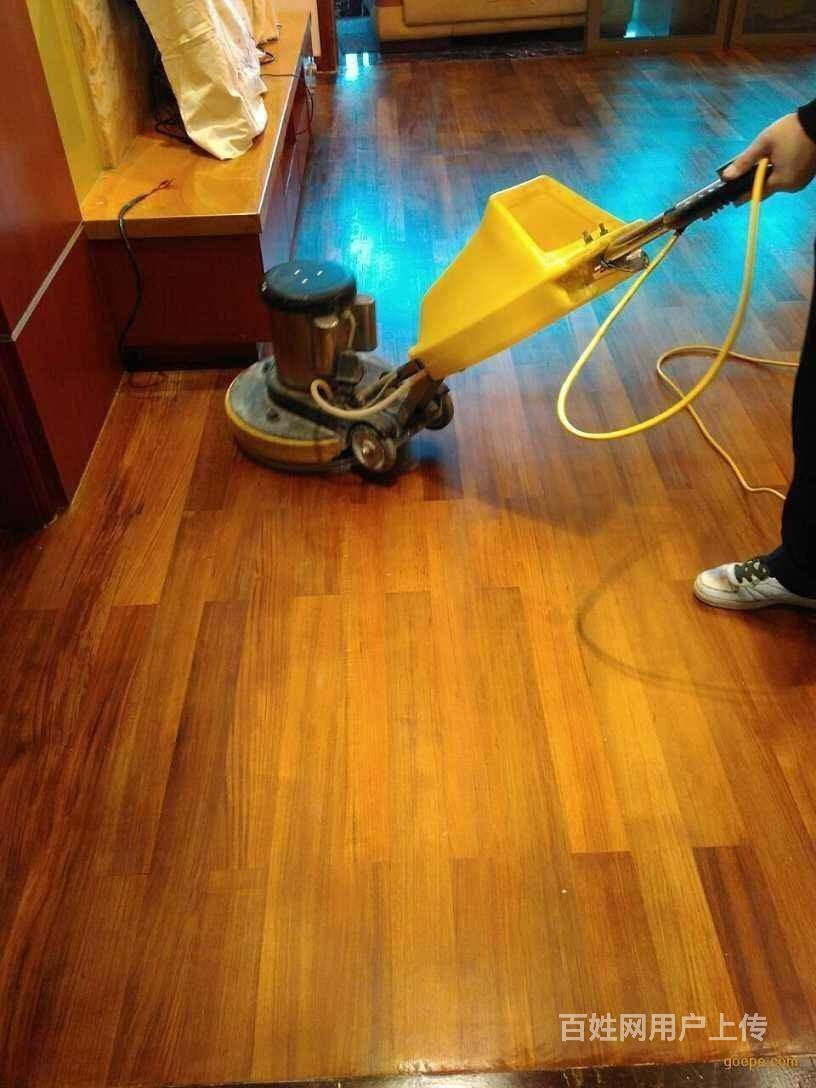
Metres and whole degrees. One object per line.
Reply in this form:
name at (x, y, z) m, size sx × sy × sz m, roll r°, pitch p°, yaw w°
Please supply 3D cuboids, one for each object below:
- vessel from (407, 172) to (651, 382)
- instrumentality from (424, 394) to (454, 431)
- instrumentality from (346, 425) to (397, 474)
vessel at (0.153, -0.360, 1.278) m, size 0.163 × 0.343 × 0.354 m, roll -24°, pitch 47°, yaw -23°
instrumentality at (0.066, -0.259, 1.665) m, size 0.067 × 0.023 × 0.067 m, roll -5°, pitch 49°, yaw 45°
instrumentality at (-0.070, -0.184, 1.593) m, size 0.024 × 0.076 × 0.068 m, roll -28°, pitch 28°, yaw -30°
